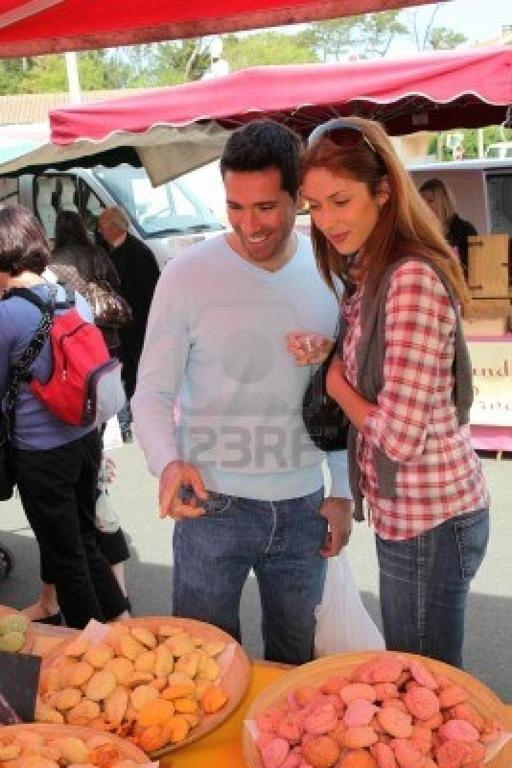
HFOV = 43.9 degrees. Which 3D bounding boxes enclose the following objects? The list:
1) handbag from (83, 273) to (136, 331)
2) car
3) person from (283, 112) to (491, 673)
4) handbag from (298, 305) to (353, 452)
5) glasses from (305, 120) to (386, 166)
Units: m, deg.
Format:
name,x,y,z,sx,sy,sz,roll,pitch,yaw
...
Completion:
name,x,y,z,sx,sy,sz,roll,pitch,yaw
handbag,-0.850,-0.446,3.671,0.226,0.305,0.125,-23,-7,-46
car,-1.038,-1.549,5.407,1.732,0.903,1.255,7,24,23
person,0.230,0.037,1.149,0.252,0.977,0.320,-15,19,-34
handbag,0.140,0.015,1.357,0.177,0.229,0.070,-1,2,-30
glasses,0.137,-0.407,1.025,0.093,0.092,0.029,6,41,24
